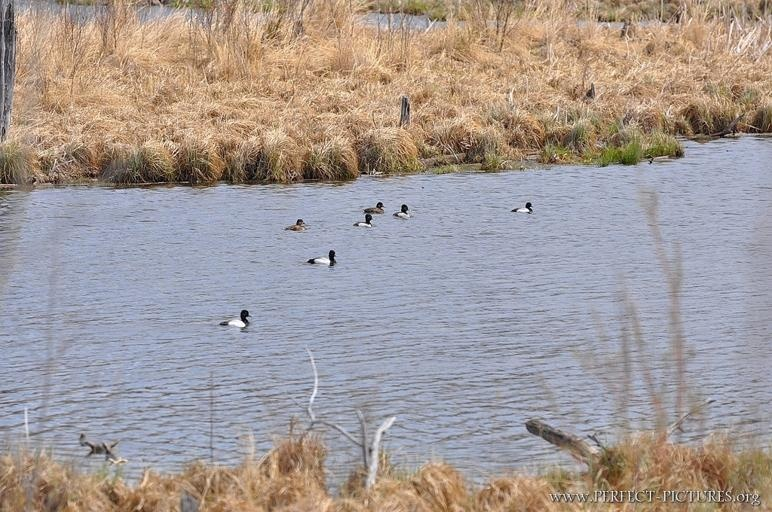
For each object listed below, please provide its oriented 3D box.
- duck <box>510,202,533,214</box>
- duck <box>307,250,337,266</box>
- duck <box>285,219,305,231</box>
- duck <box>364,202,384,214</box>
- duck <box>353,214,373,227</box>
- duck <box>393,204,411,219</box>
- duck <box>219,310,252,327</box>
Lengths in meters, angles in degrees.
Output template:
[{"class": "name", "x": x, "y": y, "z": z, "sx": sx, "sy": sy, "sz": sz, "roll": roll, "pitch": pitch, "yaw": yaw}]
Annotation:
[{"class": "duck", "x": 2.471, "y": -0.888, "z": 20.745, "sx": 0.356, "sy": 0.222, "sz": 0.197, "roll": 0, "pitch": 9, "yaw": -6}, {"class": "duck", "x": -1.003, "y": -0.001, "z": 17.839, "sx": 0.418, "sy": 0.263, "sz": 0.231, "roll": 0, "pitch": 15, "yaw": 5}, {"class": "duck", "x": -1.548, "y": -0.544, "z": 19.427, "sx": 0.333, "sy": 0.211, "sz": 0.177, "roll": -2, "pitch": 10, "yaw": -13}, {"class": "duck", "x": -0.216, "y": -0.872, "z": 20.480, "sx": 0.336, "sy": 0.219, "sz": 0.184, "roll": -2, "pitch": 6, "yaw": -6}, {"class": "duck", "x": -0.406, "y": -0.680, "z": 19.915, "sx": 0.326, "sy": 0.240, "sz": 0.497, "roll": -1, "pitch": 19, "yaw": 0}, {"class": "duck", "x": 0.301, "y": -0.801, "z": 20.474, "sx": 0.386, "sy": 0.281, "sz": 0.181, "roll": 0, "pitch": 10, "yaw": -2}, {"class": "duck", "x": -2.033, "y": 0.835, "z": 15.414, "sx": 0.349, "sy": 0.234, "sz": 0.206, "roll": -2, "pitch": 10, "yaw": -10}]
